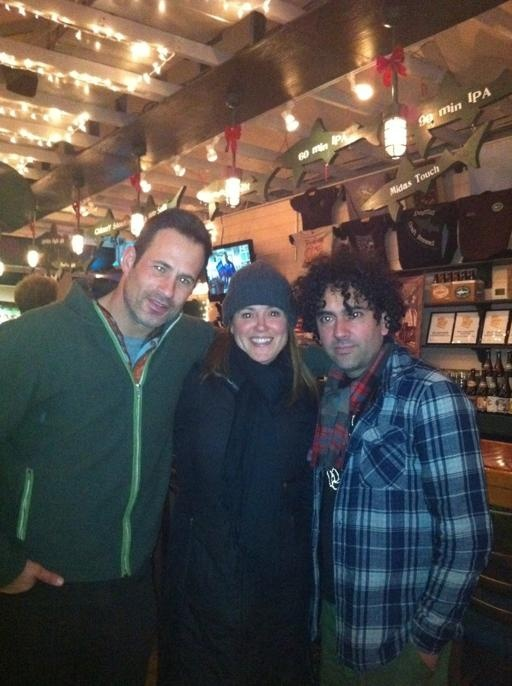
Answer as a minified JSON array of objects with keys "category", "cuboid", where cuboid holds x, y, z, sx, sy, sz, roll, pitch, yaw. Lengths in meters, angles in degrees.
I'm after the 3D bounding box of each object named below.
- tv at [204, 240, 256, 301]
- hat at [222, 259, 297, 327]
[{"category":"tv","cuboid":[-0.330,-0.818,6.273,0.075,0.657,0.745,10,19,39]},{"category":"hat","cuboid":[0.019,-0.196,2.192,0.242,0.214,0.243,3,-11,-6]}]
